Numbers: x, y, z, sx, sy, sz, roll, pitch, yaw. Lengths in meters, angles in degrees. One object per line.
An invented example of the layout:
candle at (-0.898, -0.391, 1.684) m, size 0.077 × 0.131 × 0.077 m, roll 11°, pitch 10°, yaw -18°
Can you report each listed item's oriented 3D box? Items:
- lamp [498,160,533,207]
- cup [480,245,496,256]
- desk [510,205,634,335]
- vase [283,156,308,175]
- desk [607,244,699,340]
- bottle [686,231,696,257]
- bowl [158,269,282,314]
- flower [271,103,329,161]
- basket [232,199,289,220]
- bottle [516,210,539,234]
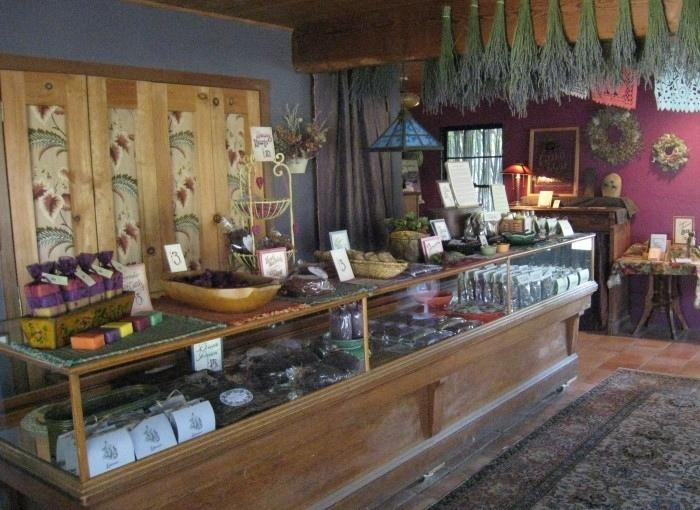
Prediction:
lamp at (2.451, -1.024, 7.813) m, size 0.519 × 0.587 × 0.499 m, roll -1°, pitch 4°, yaw 18°
cup at (1.053, -0.034, 4.086) m, size 0.090 × 0.051 × 0.091 m, roll 0°, pitch -1°, yaw 0°
desk at (3.315, 0.199, 7.634) m, size 0.836 × 1.600 × 1.858 m, roll 13°, pitch 2°, yaw -11°
vase at (-0.419, -0.701, 4.168) m, size 0.147 × 0.078 × 0.137 m, roll -1°, pitch 2°, yaw -23°
desk at (3.821, 0.412, 6.756) m, size 1.298 × 0.879 × 1.270 m, roll 1°, pitch 1°, yaw 31°
bottle at (4.241, -0.142, 6.619) m, size 0.115 × 0.282 × 0.444 m, roll 5°, pitch 10°, yaw 31°
bowl at (-0.677, 0.171, 2.775) m, size 0.597 × 0.199 × 0.344 m, roll 6°, pitch 11°, yaw 37°
flower at (-0.422, -0.961, 4.286) m, size 0.477 × 0.420 × 0.465 m, roll 0°, pitch -3°, yaw -15°
basket at (-0.592, -0.319, 3.629) m, size 0.262 × 0.077 × 0.238 m, roll -2°, pitch 1°, yaw -37°
bottle at (1.547, -0.279, 4.694) m, size 0.084 × 0.215 × 0.187 m, roll -5°, pitch -6°, yaw 43°
